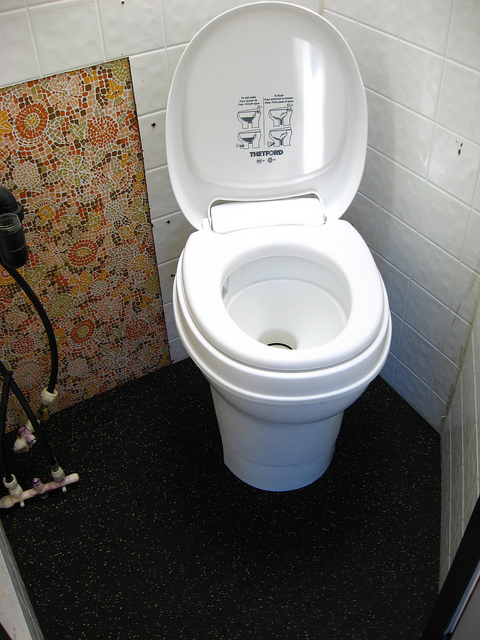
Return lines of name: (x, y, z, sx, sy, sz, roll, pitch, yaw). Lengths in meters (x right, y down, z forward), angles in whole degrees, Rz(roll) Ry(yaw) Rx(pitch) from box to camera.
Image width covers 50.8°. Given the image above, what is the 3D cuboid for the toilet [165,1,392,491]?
toilet: (0.073, -0.149, 0.879, 0.400, 0.632, 0.477, -9, 36, -9)
